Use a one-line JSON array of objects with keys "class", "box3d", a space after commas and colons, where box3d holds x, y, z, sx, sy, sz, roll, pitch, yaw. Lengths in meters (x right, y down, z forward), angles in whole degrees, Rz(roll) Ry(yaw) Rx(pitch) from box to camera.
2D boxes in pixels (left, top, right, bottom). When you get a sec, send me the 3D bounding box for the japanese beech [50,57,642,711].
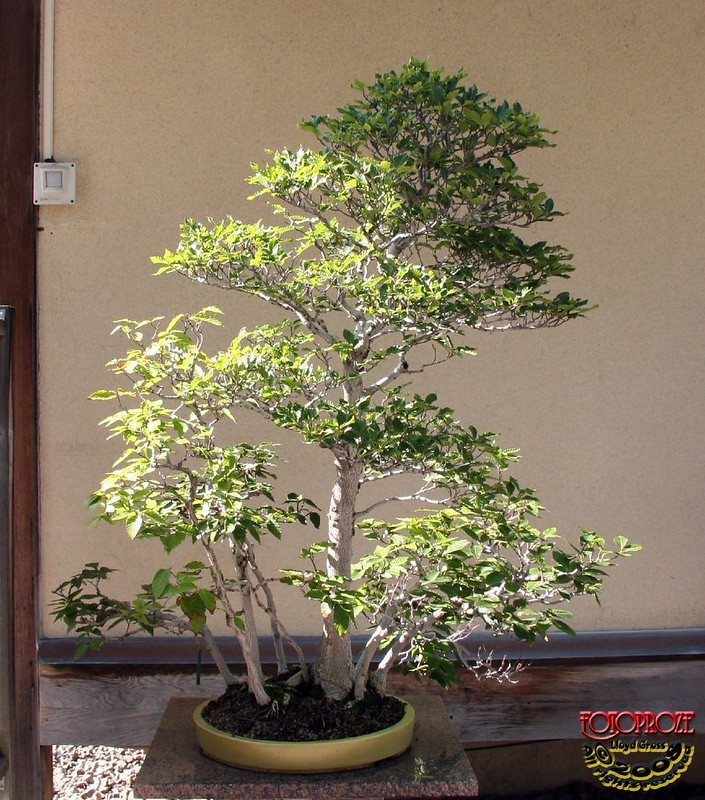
[{"class": "japanese beech", "box3d": [-0.006, 0.049, 2.238, 1.142, 1.695, 1.040, -1, 7, -4]}]
